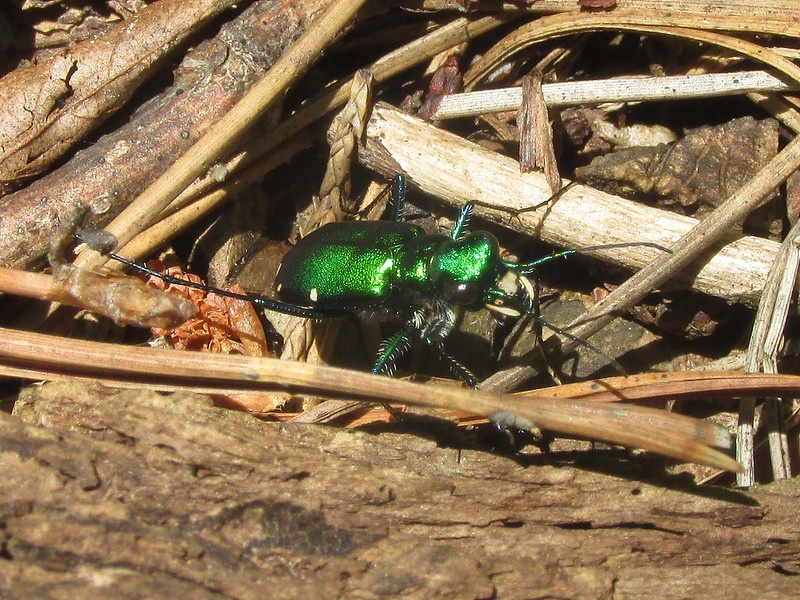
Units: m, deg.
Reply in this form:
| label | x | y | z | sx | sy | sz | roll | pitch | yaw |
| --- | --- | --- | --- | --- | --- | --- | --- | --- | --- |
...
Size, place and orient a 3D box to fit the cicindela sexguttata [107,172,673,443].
| label | x | y | z | sx | sy | sz | roll | pitch | yaw |
| --- | --- | --- | --- | --- | --- | --- | --- | --- | --- |
| cicindela sexguttata | 0.026 | -0.121 | 4.983 | 1.755 | 1.060 | 0.786 | 5 | 32 | 12 |
